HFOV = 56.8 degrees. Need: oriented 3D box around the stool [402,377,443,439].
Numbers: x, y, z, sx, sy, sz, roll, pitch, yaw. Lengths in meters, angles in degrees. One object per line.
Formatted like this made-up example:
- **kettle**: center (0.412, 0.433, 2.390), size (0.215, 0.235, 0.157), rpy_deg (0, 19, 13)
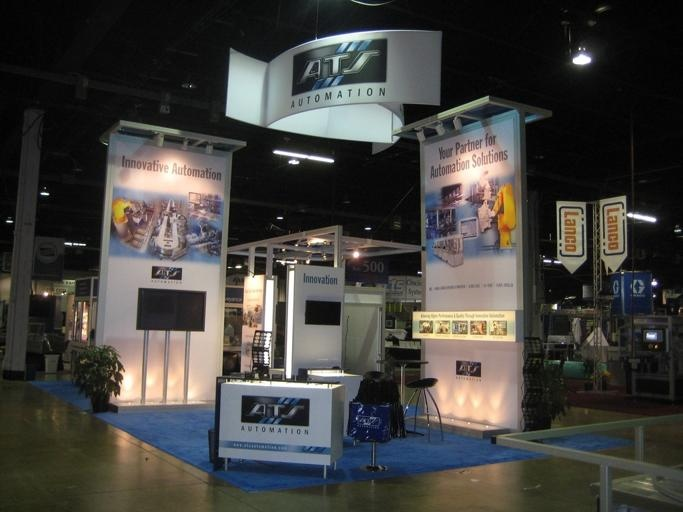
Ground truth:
- **stool**: center (1.214, 2.301, 9.455), size (0.601, 0.899, 0.601), rpy_deg (-2, -8, 17)
